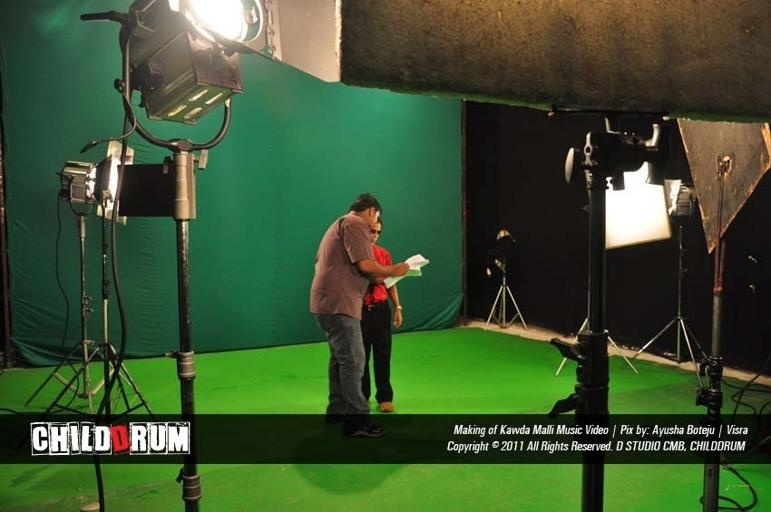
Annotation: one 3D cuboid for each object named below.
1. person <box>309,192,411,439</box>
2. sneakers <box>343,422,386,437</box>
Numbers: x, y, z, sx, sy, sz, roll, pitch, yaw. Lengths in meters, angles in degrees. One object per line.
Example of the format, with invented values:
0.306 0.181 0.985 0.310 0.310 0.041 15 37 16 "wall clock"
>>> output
-0.272 0.498 5.703 0.640 1.921 0.537 -9 13 -38 "person"
-0.188 1.423 5.787 0.347 0.167 0.120 -1 -3 -4 "sneakers"
